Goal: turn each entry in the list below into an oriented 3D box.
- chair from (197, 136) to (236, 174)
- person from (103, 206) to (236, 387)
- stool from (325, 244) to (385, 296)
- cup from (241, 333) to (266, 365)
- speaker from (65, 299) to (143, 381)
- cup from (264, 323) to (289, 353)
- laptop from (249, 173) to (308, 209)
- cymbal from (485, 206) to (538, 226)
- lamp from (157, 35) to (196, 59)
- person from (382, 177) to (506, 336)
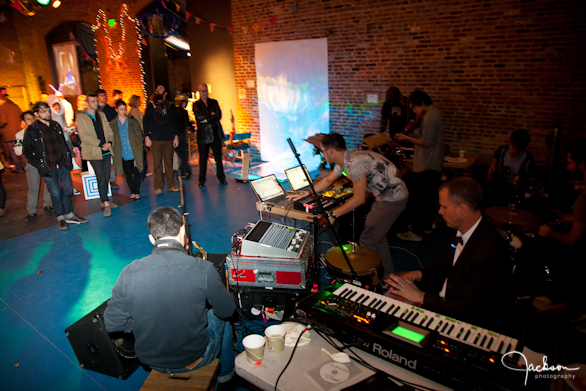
[{"bbox_3d":[-1.838,-0.911,8.826,0.642,1.267,0.337,-7,-10,7],"label":"chair"},{"bbox_3d":[-1.074,0.861,3.392,1.050,1.439,0.396,-9,15,-19],"label":"person"},{"bbox_3d":[0.666,0.770,4.226,0.627,0.591,0.590,-1,14,-3],"label":"stool"},{"bbox_3d":[-0.301,1.217,3.095,0.208,0.180,0.211,-2,13,0],"label":"cup"},{"bbox_3d":[-1.925,1.497,4.250,0.713,0.644,0.713,-12,10,27],"label":"speaker"},{"bbox_3d":[-0.135,1.222,3.188,0.177,0.122,0.161,-5,-14,-1],"label":"cup"},{"bbox_3d":[-0.276,-0.054,5.189,0.483,0.245,0.502,11,22,34],"label":"laptop"},{"bbox_3d":[2.667,0.249,4.735,0.366,0.017,0.341,-3,17,-2],"label":"cymbal"},{"bbox_3d":[-3.814,-4.831,12.756,0.696,0.474,1.826,-8,13,-15],"label":"lamp"},{"bbox_3d":[1.488,0.608,3.742,1.160,1.392,1.098,-5,11,8],"label":"person"}]
